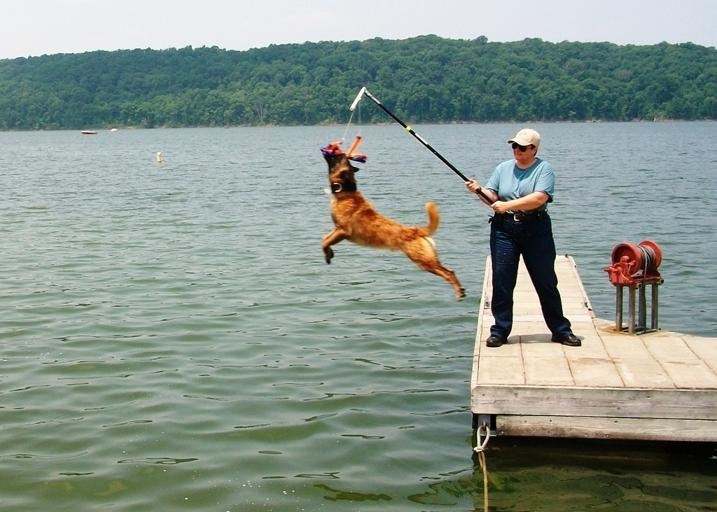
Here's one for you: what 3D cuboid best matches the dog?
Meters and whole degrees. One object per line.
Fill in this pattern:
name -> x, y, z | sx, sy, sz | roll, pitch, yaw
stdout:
dog -> 0.255, -0.353, 8.367 | 1.267, 1.514, 0.765 | -6, 21, -1
